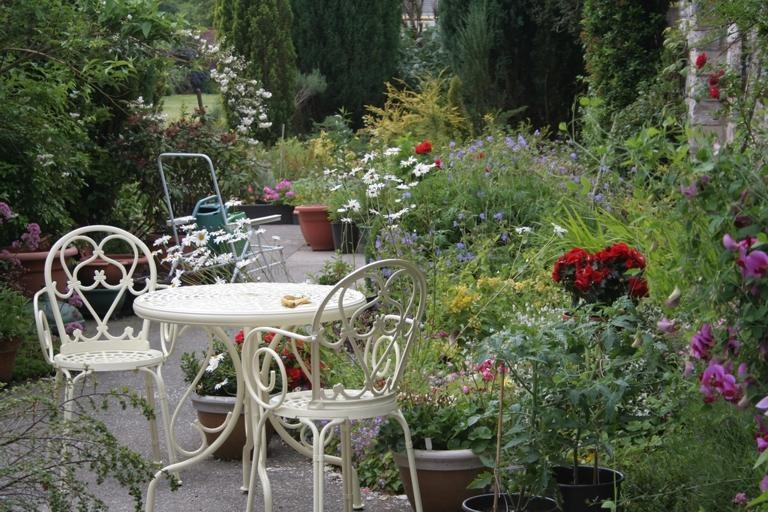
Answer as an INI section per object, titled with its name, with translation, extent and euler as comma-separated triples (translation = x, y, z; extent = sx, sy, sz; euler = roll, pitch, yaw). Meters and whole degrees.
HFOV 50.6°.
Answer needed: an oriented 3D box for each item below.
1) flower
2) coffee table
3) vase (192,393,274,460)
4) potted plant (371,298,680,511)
[flower]
translation = -0.928, 0.750, 5.437
extent = 0.617, 0.255, 0.582
euler = 5, 1, -6
[coffee table]
translation = -0.697, 0.838, 4.859
extent = 1.294, 1.219, 1.214
euler = -6, 9, -44
[vase]
translation = -1.019, 1.074, 5.258
extent = 0.429, 0.359, 0.434
euler = 3, -4, -34
[potted plant]
translation = 0.879, 0.705, 4.502
extent = 1.272, 1.019, 1.262
euler = -5, -5, 20
